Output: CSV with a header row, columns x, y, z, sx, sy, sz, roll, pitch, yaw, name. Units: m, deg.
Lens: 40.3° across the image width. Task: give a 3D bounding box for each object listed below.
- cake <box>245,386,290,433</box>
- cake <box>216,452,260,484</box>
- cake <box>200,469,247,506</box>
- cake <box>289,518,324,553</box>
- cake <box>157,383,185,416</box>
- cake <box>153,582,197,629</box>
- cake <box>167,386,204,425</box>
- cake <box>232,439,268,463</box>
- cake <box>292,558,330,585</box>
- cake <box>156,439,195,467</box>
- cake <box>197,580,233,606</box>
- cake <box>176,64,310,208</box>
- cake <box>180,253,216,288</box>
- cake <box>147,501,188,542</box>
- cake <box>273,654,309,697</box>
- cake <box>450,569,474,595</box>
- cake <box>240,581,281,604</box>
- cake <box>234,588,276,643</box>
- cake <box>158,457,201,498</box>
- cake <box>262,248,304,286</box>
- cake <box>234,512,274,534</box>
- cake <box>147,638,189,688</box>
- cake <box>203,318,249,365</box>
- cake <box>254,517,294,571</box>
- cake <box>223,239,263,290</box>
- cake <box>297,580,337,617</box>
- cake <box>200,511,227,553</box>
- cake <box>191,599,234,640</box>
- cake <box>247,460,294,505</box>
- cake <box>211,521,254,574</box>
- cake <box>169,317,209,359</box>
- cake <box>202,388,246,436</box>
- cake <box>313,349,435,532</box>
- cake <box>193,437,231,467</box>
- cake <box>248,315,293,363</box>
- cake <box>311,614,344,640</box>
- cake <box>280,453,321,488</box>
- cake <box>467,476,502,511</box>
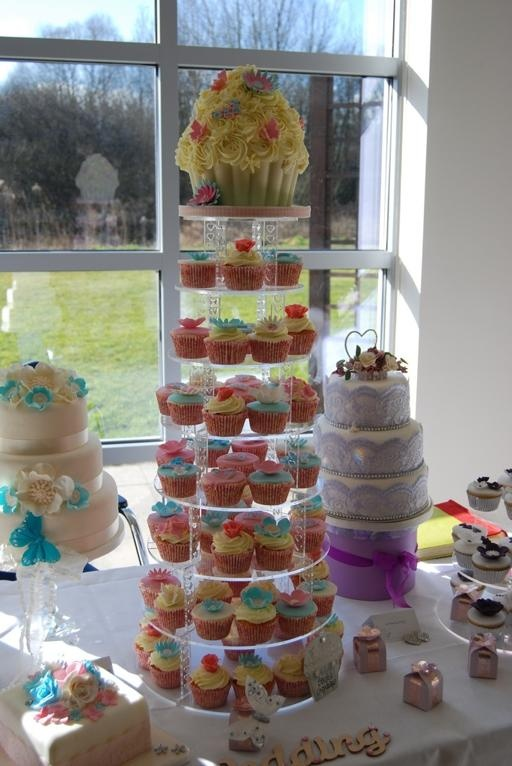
x,y,z,sx,sy,sz,roll,pitch,yaw,name
0.029,0.058,1.555,0.110,0.114,0.105,1,6,0,cake
-0.032,0.194,1.591,0.066,0.040,0.059,5,6,33,cake
-0.072,0.231,1.533,0.084,0.065,0.092,1,7,-2,cake
0.122,0.366,1.670,0.085,0.064,0.090,-1,10,-3,cake
-0.199,0.037,1.699,0.083,0.065,0.072,1,9,-6,cake
-0.180,0.499,1.596,0.097,0.090,0.094,-2,8,-24,cake
-0.159,0.049,1.598,0.084,0.073,0.088,1,7,-2,cake
-0.015,0.159,1.677,0.061,0.045,0.057,1,5,41,cake
0.136,0.475,1.740,0.081,0.070,0.079,1,-4,-11,cake
-0.189,0.158,1.617,0.071,0.057,0.068,2,6,4,cake
-0.096,0.465,1.561,0.058,0.047,0.055,0,5,-1,cake
-0.028,-0.543,1.631,0.368,0.338,0.347,-1,18,-2,cake
-0.129,-0.278,1.725,0.094,0.084,0.090,-10,30,-21,cake
-0.202,0.318,1.622,0.080,0.055,0.093,1,8,-6,cake
0.080,0.636,1.527,0.072,0.104,0.096,-2,11,-11,cake
0.547,0.536,1.864,0.060,0.051,0.058,-1,11,5,cake
0.009,0.474,1.560,0.067,0.020,0.066,4,13,28,cake
-0.023,0.510,1.562,0.110,0.117,0.118,0,-2,-3,cake
-0.176,0.206,1.529,0.081,0.062,0.093,1,5,-3,cake
0.071,-0.293,1.726,0.098,0.071,0.101,0,17,-5,cake
-0.003,0.321,1.627,0.053,0.041,0.063,1,-1,-6,cake
-0.188,0.627,1.560,0.090,0.090,0.106,1,-1,-5,cake
-0.061,-0.097,1.547,0.102,0.090,0.108,2,8,5,cake
0.039,0.357,1.573,0.108,0.113,0.111,1,1,-1,cake
-0.028,-0.278,1.608,0.124,0.119,0.108,-3,16,-15,cake
0.153,0.515,1.684,0.082,0.066,0.091,-1,-7,-2,cake
-0.104,0.345,1.617,0.085,0.084,0.087,2,-3,-1,cake
-0.091,0.507,1.502,0.087,0.064,0.096,1,-1,-5,cake
0.034,0.220,1.589,0.099,0.074,0.104,0,4,0,cake
-0.051,0.371,1.530,0.084,0.128,0.061,-1,11,-5,cake
-0.152,-0.112,1.677,0.097,0.084,0.101,2,9,11,cake
-0.065,0.062,1.579,0.108,0.108,0.104,3,11,11,cake
0.357,0.157,2.051,0.352,0.441,0.345,2,6,39,cake
-0.106,0.166,1.648,0.084,0.057,0.075,-2,6,-39,cake
0.037,-0.104,1.584,0.103,0.102,0.105,1,14,4,cake
0.175,0.590,1.691,0.079,0.069,0.076,2,7,10,cake
0.106,0.199,1.665,0.092,0.060,0.084,3,10,11,cake
0.668,0.318,2.066,0.110,0.092,0.105,0,1,1,cake
